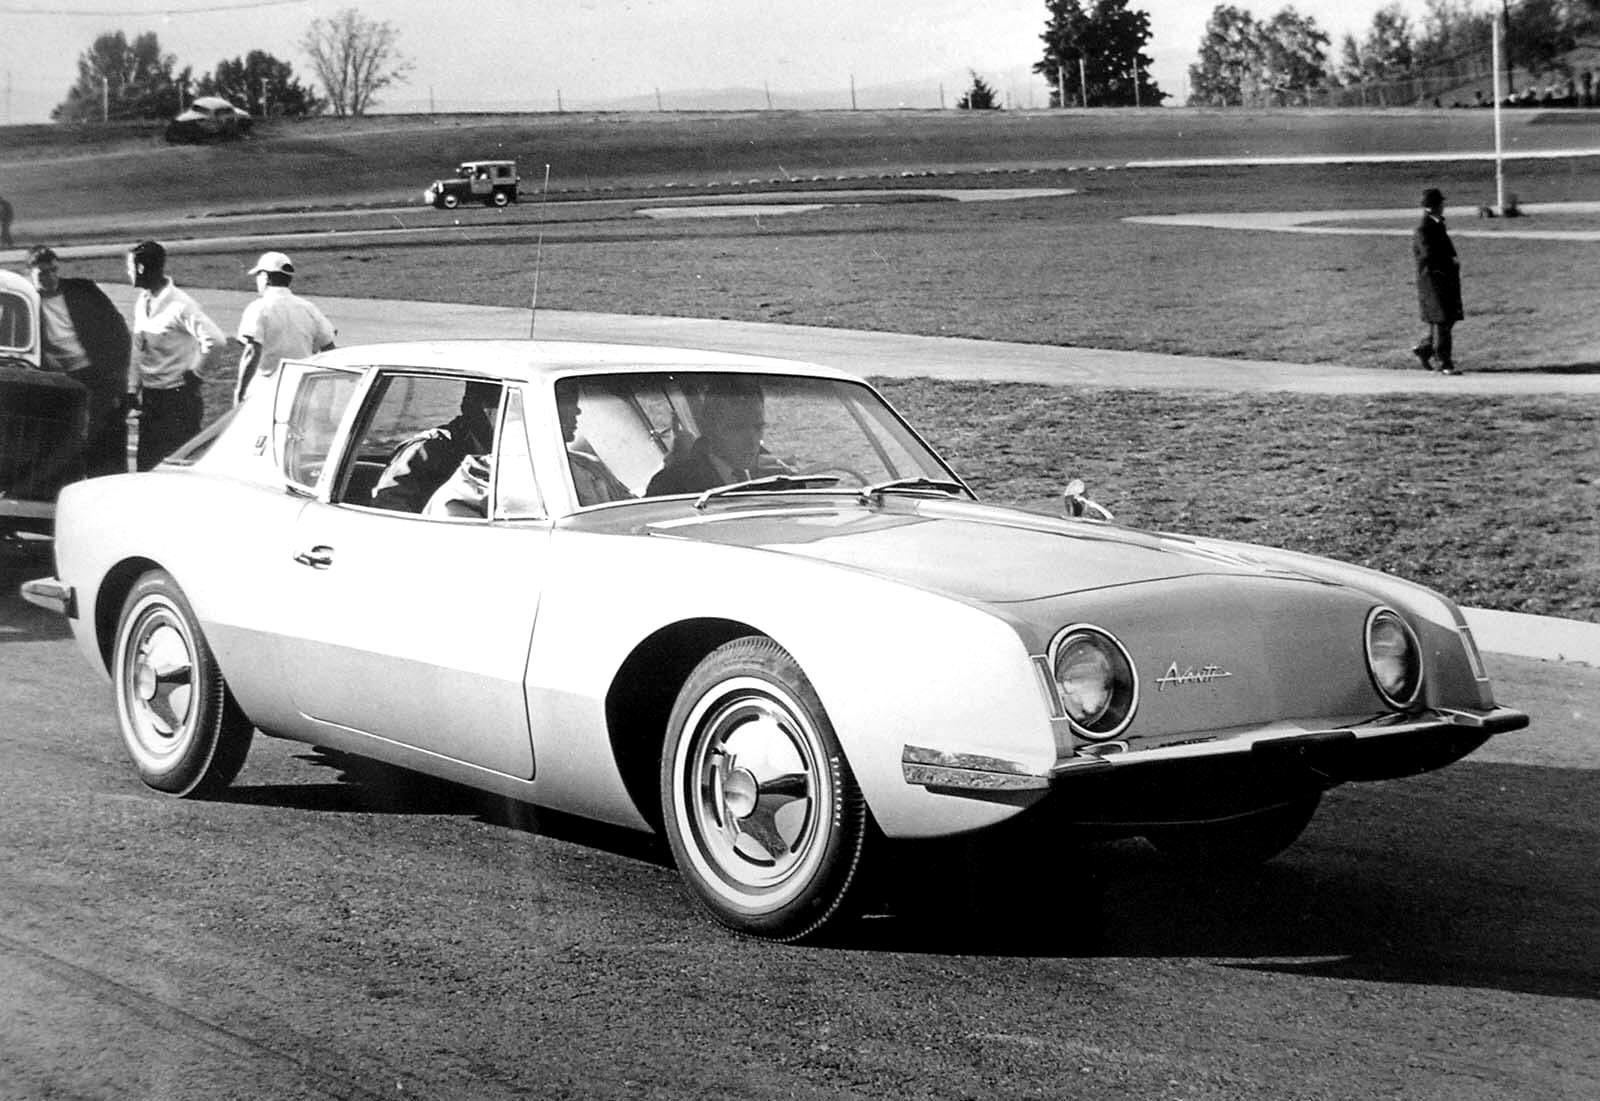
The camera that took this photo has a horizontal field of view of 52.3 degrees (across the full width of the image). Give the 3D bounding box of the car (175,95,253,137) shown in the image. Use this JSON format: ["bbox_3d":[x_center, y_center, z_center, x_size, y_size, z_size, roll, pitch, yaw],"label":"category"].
[{"bbox_3d":[-33.180,-24.252,91.661,2.992,2.380,4.286,8,13,35],"label":"car"}]

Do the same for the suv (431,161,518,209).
[{"bbox_3d":[-11.908,-13.201,58.967,3.018,1.592,1.932,0,3,-9],"label":"suv"}]

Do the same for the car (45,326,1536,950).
[{"bbox_3d":[-0.269,0.203,6.354,5.388,1.938,1.736,7,12,30],"label":"car"}]
